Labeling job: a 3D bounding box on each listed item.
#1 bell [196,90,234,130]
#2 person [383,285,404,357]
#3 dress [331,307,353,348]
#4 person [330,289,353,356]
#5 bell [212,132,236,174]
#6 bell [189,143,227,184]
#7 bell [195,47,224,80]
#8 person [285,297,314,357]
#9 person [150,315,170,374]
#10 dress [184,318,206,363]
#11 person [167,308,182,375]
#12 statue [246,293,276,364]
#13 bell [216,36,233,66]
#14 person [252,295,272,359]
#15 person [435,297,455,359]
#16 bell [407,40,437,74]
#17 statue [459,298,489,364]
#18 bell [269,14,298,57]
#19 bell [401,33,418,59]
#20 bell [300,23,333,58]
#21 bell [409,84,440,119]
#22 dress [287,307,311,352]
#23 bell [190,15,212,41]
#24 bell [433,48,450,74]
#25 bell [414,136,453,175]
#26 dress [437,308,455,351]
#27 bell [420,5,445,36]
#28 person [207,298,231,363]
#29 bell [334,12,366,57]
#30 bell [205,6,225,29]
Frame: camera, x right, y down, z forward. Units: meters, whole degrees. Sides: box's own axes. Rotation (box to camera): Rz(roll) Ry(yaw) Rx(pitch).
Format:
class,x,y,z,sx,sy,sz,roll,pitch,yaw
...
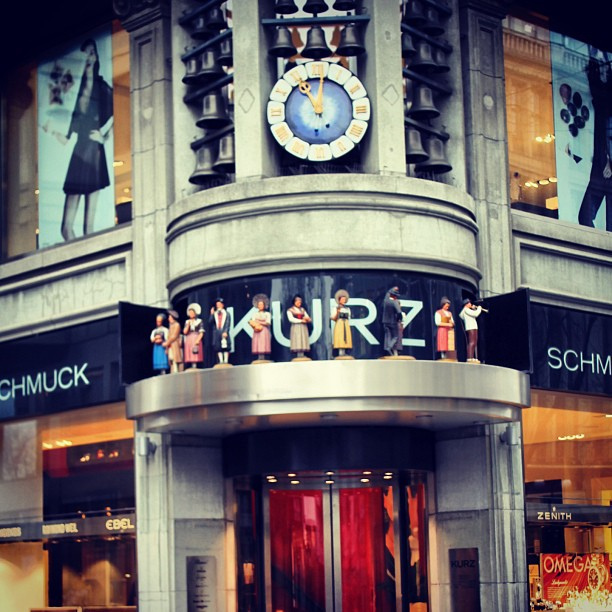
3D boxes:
class,x,y,z,sx,sy,sz,roll,pitch,yaw
bell,-2.240,-4.368,46.617,0.799,0.876,0.852,0,-19,-2
person,1.923,0.437,43.897,0.436,1.561,0.442,-3,-15,-1
dress,0.769,0.554,43.633,0.377,0.876,0.322,-3,-16,-1
person,0.767,0.449,43.823,0.416,1.475,0.632,-3,-16,2
bell,-1.960,-3.432,45.955,0.547,1.020,1.084,-2,-17,-3
bell,-2.379,-3.276,46.856,0.822,0.979,0.880,0,-16,-2
bell,-2.307,-5.627,46.632,0.631,0.702,0.676,1,-13,-5
person,-0.185,0.558,43.880,0.466,1.342,0.373,-1,-15,-5
person,-3.424,0.881,45.527,0.439,1.276,0.885,-1,-16,-5
dress,-2.579,0.841,44.800,0.486,1.055,0.585,-2,-16,-4
person,-3.057,0.875,45.300,0.295,1.506,0.473,-2,-16,-5
statue,-1.038,0.555,44.090,0.489,1.734,0.622,-3,-16,-1
bell,-1.910,-5.826,46.507,0.505,0.607,0.538,3,-10,-5
person,-1.047,0.514,44.077,0.418,1.436,0.567,-2,-16,-3
person,3.125,0.486,44.379,0.421,1.182,0.288,-2,-15,-5
bell,2.735,-5.652,46.798,0.669,0.727,0.691,0,-10,-1
statue,3.844,0.634,45.054,0.419,1.443,0.518,-1,-1,-31
bell,-0.567,-5.979,45.358,0.628,0.683,1.065,5,-12,-3
bell,2.380,-5.951,46.667,0.442,0.526,0.472,0,-13,-5
bell,0.243,-5.901,45.765,0.698,0.773,0.717,0,-15,0
bell,2.760,-4.617,46.598,0.674,0.751,0.716,2,-3,-31
dress,-0.196,0.589,43.851,0.452,0.954,0.354,-3,-16,1
bell,-2.555,-6.466,47.099,0.469,0.566,0.505,0,-22,-1
bell,3.207,-5.686,46.967,0.478,0.531,0.497,0,-20,-1
bell,3.024,-3.421,46.596,0.776,0.929,0.817,1,4,-14
dress,3.127,0.635,44.385,0.395,0.902,0.382,-4,-16,2
bell,3.024,-6.562,47.178,0.586,0.638,0.599,0,-14,0
person,-1.993,0.611,44.557,0.480,1.592,0.544,-5,-16,7
bell,1.002,-6.068,45.607,0.612,1.157,0.671,-1,-19,1
bell,-2.185,-6.611,46.767,0.441,0.530,0.475,0,-25,-3
